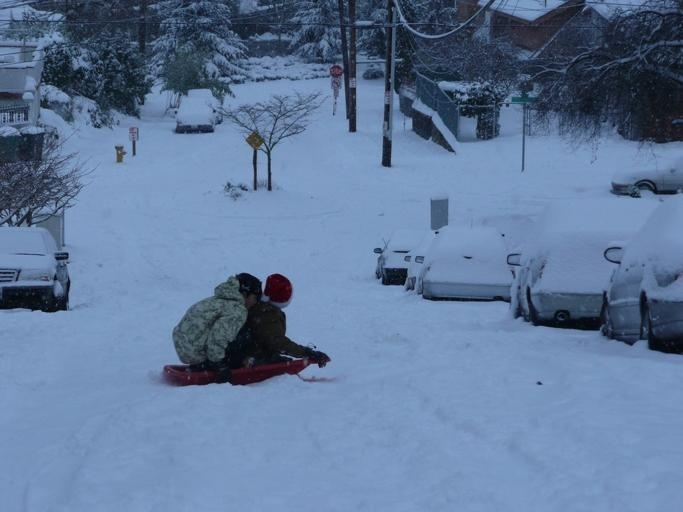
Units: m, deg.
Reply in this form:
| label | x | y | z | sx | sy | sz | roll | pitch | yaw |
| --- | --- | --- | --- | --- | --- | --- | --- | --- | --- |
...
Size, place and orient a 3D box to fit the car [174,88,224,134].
| label | x | y | z | sx | sy | sz | roll | pitch | yaw |
| --- | --- | --- | --- | --- | --- | --- | --- | --- | --- |
| car | -6.857 | -6.726 | 42.309 | 1.638 | 1.655 | 3.490 | 1 | 21 | -2 |

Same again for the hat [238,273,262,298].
| label | x | y | z | sx | sy | sz | roll | pitch | yaw |
| --- | --- | --- | --- | --- | --- | --- | --- | --- | --- |
| hat | -1.268 | 0.385 | 12.175 | 0.326 | 0.353 | 0.270 | -3 | 17 | -27 |

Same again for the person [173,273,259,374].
| label | x | y | z | sx | sy | sz | roll | pitch | yaw |
| --- | --- | --- | --- | --- | --- | --- | --- | --- | --- |
| person | -1.756 | 0.970 | 12.233 | 0.960 | 1.511 | 1.066 | 17 | -1 | -22 |

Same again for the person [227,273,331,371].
| label | x | y | z | sx | sy | sz | roll | pitch | yaw |
| --- | --- | --- | --- | --- | --- | --- | --- | --- | --- |
| person | -0.925 | 1.342 | 12.573 | 1.192 | 1.971 | 1.073 | 14 | 9 | -2 |

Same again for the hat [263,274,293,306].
| label | x | y | z | sx | sy | sz | roll | pitch | yaw |
| --- | --- | --- | --- | --- | --- | --- | --- | --- | --- |
| hat | -0.893 | 0.482 | 12.159 | 0.309 | 0.380 | 0.467 | 10 | 34 | -9 |
